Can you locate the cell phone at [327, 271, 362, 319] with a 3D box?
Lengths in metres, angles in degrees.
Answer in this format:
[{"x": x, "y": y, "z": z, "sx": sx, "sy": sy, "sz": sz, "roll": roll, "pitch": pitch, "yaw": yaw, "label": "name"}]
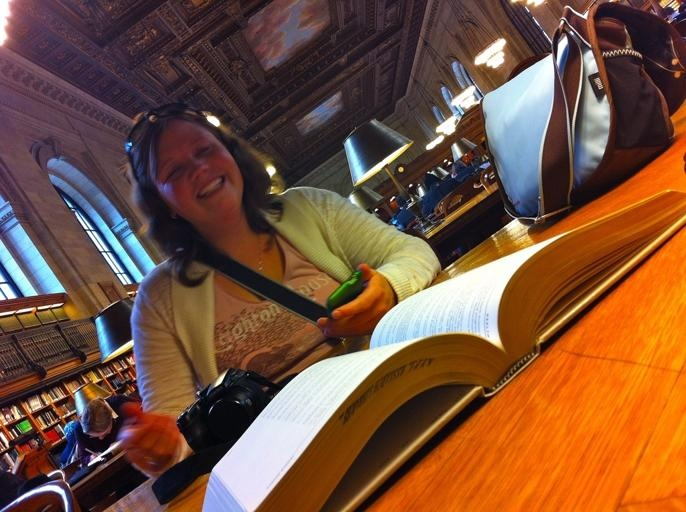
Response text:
[{"x": 0.008, "y": 0.087, "z": 1.018, "sx": 0.023, "sy": 0.060, "sz": 0.104, "roll": -5, "pitch": 29, "yaw": 49, "label": "cell phone"}]
